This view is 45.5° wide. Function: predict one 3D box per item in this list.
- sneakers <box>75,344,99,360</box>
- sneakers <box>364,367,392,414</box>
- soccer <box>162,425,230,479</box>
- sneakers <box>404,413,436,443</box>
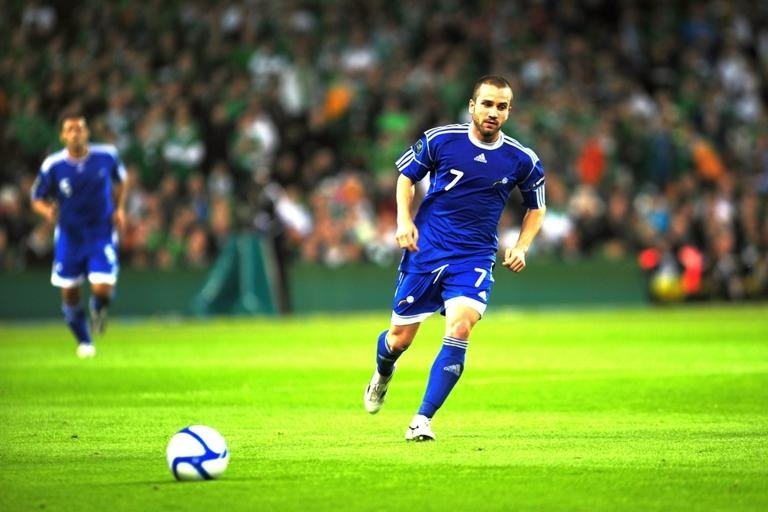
[{"bbox_3d":[-3.987,1.257,12.308,0.272,0.166,0.371,1,-6,-8],"label":"sneakers"},{"bbox_3d":[-0.064,1.232,8.373,0.165,0.489,0.193,16,22,-3],"label":"sneakers"},{"bbox_3d":[-1.331,1.403,6.524,0.410,0.361,0.185,1,5,-14],"label":"soccer"},{"bbox_3d":[0.313,1.399,7.464,0.121,0.148,0.344,2,-1,34],"label":"sneakers"}]
